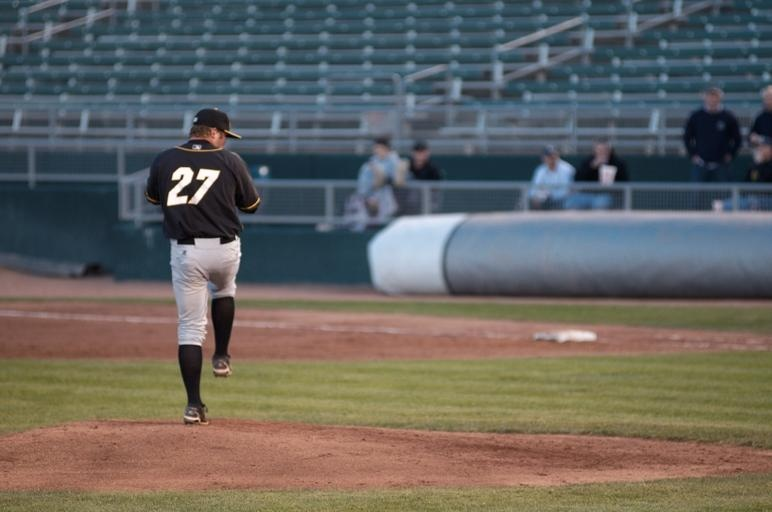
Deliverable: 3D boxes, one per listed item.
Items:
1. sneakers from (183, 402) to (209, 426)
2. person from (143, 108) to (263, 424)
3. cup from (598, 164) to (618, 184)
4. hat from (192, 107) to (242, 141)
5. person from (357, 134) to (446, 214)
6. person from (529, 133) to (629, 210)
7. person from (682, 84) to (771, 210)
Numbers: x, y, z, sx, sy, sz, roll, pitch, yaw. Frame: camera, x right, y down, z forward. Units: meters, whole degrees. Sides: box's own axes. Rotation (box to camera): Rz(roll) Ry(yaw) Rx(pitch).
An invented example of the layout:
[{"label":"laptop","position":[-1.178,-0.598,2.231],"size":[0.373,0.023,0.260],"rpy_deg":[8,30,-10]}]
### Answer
[{"label":"sneakers","position":[-1.890,1.572,20.807],"size":[0.282,0.200,0.221],"rpy_deg":[1,4,-23]},{"label":"person","position":[-1.842,0.115,20.829],"size":[1.055,3.165,0.485],"rpy_deg":[2,4,-4]},{"label":"cup","position":[2.411,-0.886,22.451],"size":[0.207,0.200,0.199],"rpy_deg":[1,2,0]},{"label":"hat","position":[-1.681,-1.321,20.952],"size":[0.430,0.210,0.263],"rpy_deg":[1,7,-29]},{"label":"person","position":[0.186,-0.858,23.080],"size":[0.732,0.447,0.931],"rpy_deg":[3,15,-7]},{"label":"person","position":[2.108,-0.879,22.634],"size":[1.062,0.782,0.582],"rpy_deg":[3,4,5]},{"label":"person","position":[3.614,-1.325,23.007],"size":[0.632,1.026,0.362],"rpy_deg":[3,4,9]}]
